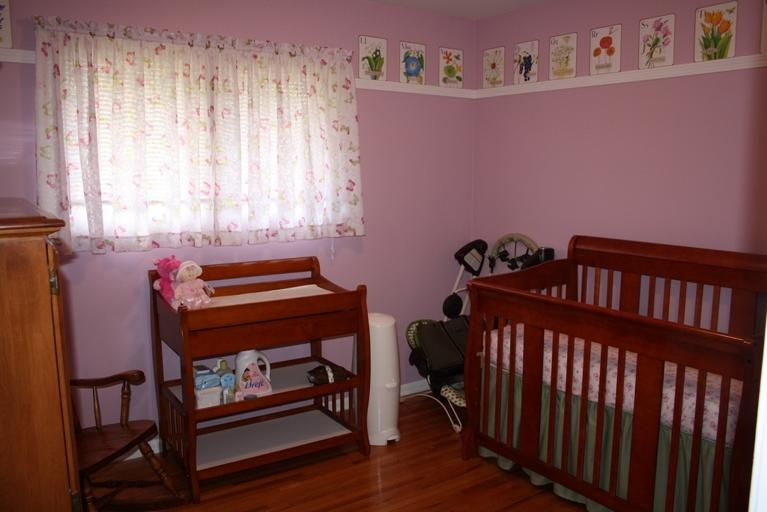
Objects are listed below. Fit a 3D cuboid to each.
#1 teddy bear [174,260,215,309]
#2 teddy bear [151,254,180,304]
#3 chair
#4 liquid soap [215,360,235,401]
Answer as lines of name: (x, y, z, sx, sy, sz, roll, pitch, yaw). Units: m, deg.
teddy bear: (-1.122, 0.170, 3.344, 0.210, 0.255, 0.399, -6, 9, -18)
teddy bear: (-1.303, 0.147, 3.449, 0.196, 0.268, 0.191, 4, 13, 36)
chair: (-1.557, 1.044, 3.288, 0.515, 0.769, 0.721, -10, 11, -40)
liquid soap: (-0.963, 0.757, 3.457, 0.110, 0.229, 0.176, -4, 8, -8)
